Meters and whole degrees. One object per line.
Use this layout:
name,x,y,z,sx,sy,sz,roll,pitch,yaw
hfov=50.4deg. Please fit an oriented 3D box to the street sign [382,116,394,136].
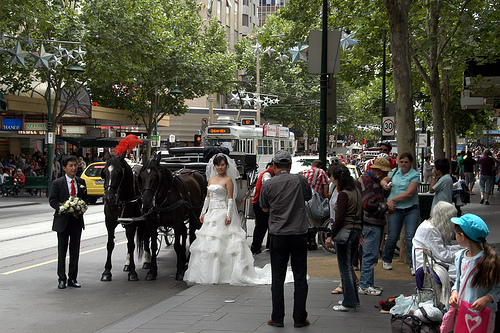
street sign,5.960,-1.757,23.000,0.478,0.768,0.588,0,-1,15

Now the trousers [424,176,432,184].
trousers,10.589,0.766,31.658,0.456,0.642,0.336,0,0,23

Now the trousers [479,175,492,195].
trousers,12.205,0.947,27.477,0.537,1.021,1.260,-1,-1,24

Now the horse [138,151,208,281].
horse,-2.045,1.257,14.146,1.118,3.216,4.306,1,2,10

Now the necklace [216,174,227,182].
necklace,-0.697,0.286,12.961,0.372,0.125,0.017,-23,7,20

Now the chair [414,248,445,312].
chair,2.984,1.790,8.800,0.594,1.106,0.439,-16,19,-25

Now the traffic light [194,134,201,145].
traffic light,-3.346,-1.674,33.739,0.552,0.546,0.541,-1,-3,-12

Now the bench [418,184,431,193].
bench,7.715,0.956,23.392,0.393,0.245,0.401,-1,-1,15

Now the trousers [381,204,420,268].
trousers,3.535,1.647,12.424,0.799,1.409,1.143,0,-1,15

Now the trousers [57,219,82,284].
trousers,-4.128,1.928,12.142,0.513,1.480,0.283,0,0,-20

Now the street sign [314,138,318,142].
street sign,7.577,-3.043,60.976,0.350,0.341,0.348,0,-1,-6

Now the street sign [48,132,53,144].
street sign,-11.773,-1.680,31.271,0.242,0.723,0.414,0,-1,-19

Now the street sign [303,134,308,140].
street sign,6.402,-3.353,60.854,0.730,0.833,0.744,-1,5,4

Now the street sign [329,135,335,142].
street sign,10.009,-3.456,65.956,1.090,0.823,1.100,3,5,11

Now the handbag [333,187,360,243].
handbag,1.834,0.999,10.137,0.503,0.859,0.310,-1,-18,27
